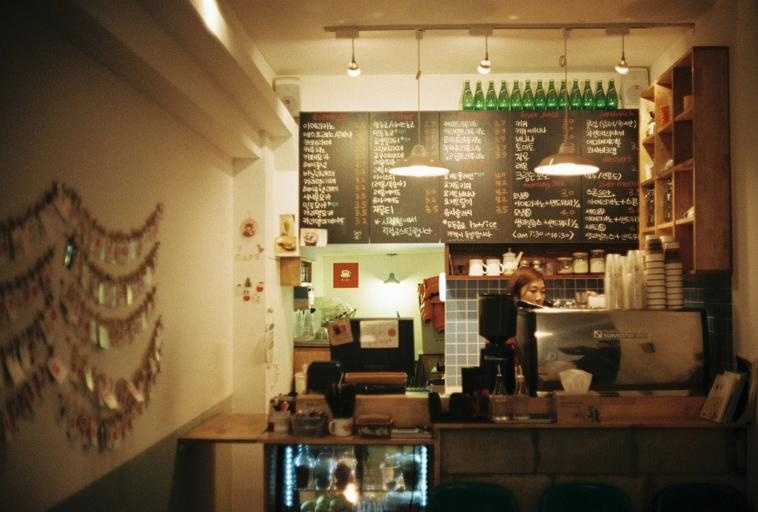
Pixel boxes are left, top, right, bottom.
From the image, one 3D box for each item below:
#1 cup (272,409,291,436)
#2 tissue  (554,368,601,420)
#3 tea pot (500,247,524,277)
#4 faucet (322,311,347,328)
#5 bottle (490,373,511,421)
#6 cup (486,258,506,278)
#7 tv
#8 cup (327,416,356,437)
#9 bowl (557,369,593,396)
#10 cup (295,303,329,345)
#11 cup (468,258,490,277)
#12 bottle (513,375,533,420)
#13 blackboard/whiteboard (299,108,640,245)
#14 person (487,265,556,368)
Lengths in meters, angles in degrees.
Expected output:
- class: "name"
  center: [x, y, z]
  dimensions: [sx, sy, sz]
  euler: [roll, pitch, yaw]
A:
- class: "cup"
  center: [-0.685, 1.171, 4.750]
  dimensions: [0.140, 0.189, 0.154]
  euler: [1, -7, -4]
- class: "tissue "
  center: [1.349, 0.945, 4.626]
  dimensions: [0.339, 0.437, 0.315]
  euler: [0, -10, 0]
- class: "tea pot"
  center: [1.236, 0.061, 6.379]
  dimensions: [0.269, 0.267, 0.173]
  euler: [-1, -2, 42]
- class: "faucet"
  center: [-0.376, 0.586, 6.074]
  dimensions: [0.270, 0.122, 0.354]
  euler: [-1, -5, -9]
- class: "bottle"
  center: [0.829, 0.961, 4.629]
  dimensions: [0.152, 0.314, 0.066]
  euler: [-3, -6, -6]
- class: "cup"
  center: [1.068, 0.106, 6.228]
  dimensions: [0.181, 0.166, 0.116]
  euler: [0, -8, 3]
- class: "tv"
  center: [-0.138, 0.920, 6.615]
  dimensions: [0.873, 0.748, 0.486]
  euler: [1, 8, -34]
- class: "cup"
  center: [-0.259, 1.175, 4.656]
  dimensions: [0.164, 0.099, 0.107]
  euler: [2, -5, -23]
- class: "bowl"
  center: [1.341, 0.868, 4.650]
  dimensions: [0.184, 0.116, 0.169]
  euler: [1, -6, 0]
- class: "cup"
  center: [-0.758, 0.763, 7.548]
  dimensions: [0.442, 0.401, 0.339]
  euler: [0, -2, 2]
- class: "cup"
  center: [0.925, 0.117, 6.297]
  dimensions: [0.119, 0.150, 0.177]
  euler: [-1, 6, -25]
- class: "bottle"
  center: [0.976, 0.970, 4.681]
  dimensions: [0.110, 0.289, 0.152]
  euler: [-4, -6, 11]
- class: "blackboard/whiteboard"
  center: [0.855, -0.761, 6.525]
  dimensions: [3.227, 1.195, 0.379]
  euler: [-1, 3, -2]
- class: "person"
  center: [1.269, 0.483, 5.855]
  dimensions: [0.554, 0.744, 0.365]
  euler: [4, -1, -23]
